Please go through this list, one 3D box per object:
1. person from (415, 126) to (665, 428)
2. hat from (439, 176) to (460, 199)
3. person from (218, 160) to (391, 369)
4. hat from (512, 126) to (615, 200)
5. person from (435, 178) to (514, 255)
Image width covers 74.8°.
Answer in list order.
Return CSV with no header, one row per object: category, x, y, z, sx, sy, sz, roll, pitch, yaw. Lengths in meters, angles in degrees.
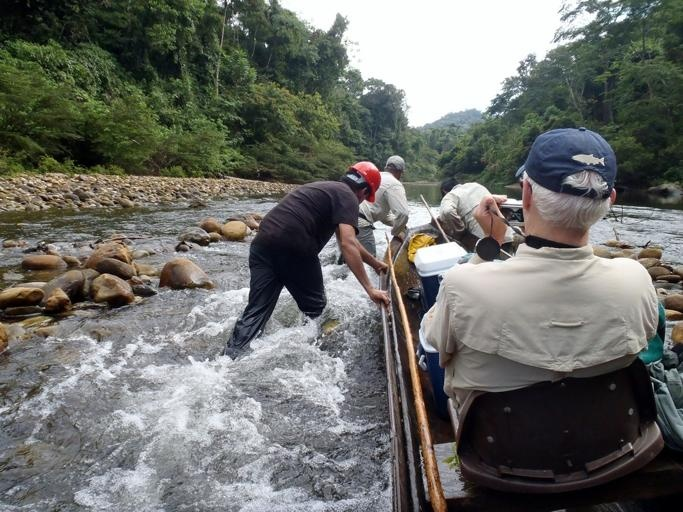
person,0.904,0.163,1.995,0.964,1.411,0.478,8,19,10
hat,1.628,-1.057,6.941,0.314,0.329,0.364,12,30,37
person,-0.394,0.105,4.032,1.240,1.504,0.632,2,18,-7
hat,1.050,-0.459,2.062,0.387,0.269,0.484,6,23,6
person,1.678,-0.591,6.159,0.720,0.471,1.533,-8,51,9
